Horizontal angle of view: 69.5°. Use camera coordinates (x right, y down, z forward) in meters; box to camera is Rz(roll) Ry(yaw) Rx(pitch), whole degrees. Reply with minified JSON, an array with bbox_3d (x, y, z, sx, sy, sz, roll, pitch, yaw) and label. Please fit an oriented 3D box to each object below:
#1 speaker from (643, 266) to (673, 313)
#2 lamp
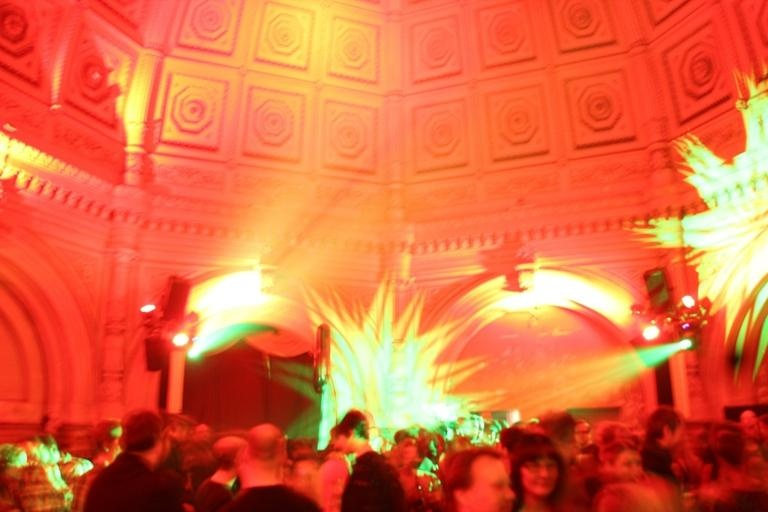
[{"bbox_3d":[4.572,0.564,9.202,0.167,0.674,0.383,13,-19,-43],"label":"speaker"},{"bbox_3d":[-3.614,1.436,9.220,0.930,2.282,0.533,7,-20,-21],"label":"lamp"}]
